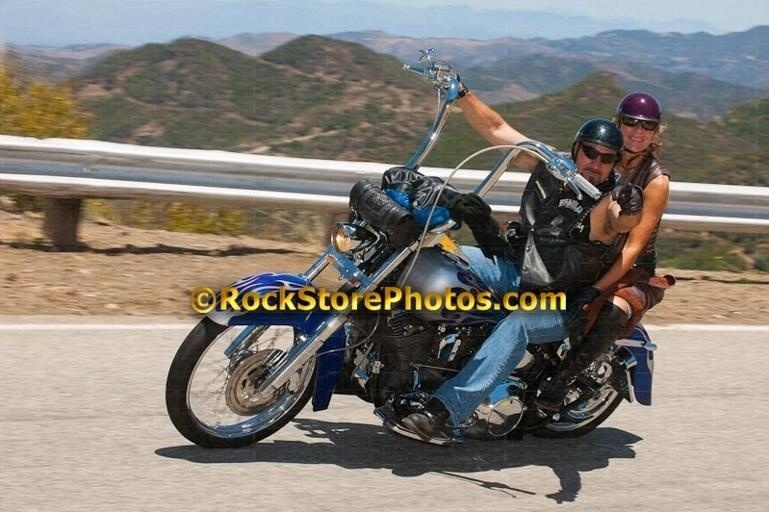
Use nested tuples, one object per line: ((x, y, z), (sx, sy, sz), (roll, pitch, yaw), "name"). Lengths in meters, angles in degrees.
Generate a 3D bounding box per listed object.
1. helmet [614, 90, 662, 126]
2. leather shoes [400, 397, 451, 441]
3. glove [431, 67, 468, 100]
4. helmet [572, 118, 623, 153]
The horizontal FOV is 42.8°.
((1.734, -1.005, 6.681), (0.328, 0.174, 0.268), (10, 18, 1), "helmet")
((0.278, 1.039, 6.176), (0.241, 0.273, 0.184), (-5, 32, -35), "leather shoes")
((0.458, -1.102, 6.357), (0.310, 0.113, 0.201), (11, 48, -26), "glove")
((1.345, -0.766, 6.179), (0.276, 0.132, 0.245), (8, 11, 15), "helmet")
